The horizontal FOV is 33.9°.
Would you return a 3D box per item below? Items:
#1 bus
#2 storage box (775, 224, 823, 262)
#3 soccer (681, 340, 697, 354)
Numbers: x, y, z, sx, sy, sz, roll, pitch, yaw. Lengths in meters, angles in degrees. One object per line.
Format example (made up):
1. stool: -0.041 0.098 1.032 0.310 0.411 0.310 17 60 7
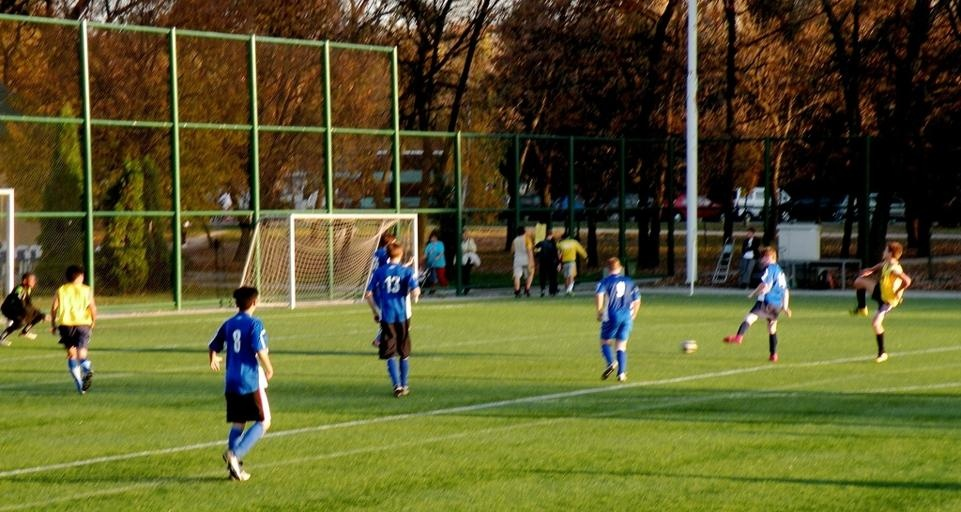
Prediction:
1. bus: -4.537 -2.920 60.785 2.459 3.115 16.668 1 1 16
2. storage box: 12.651 -0.505 62.142 1.542 1.450 1.541 0 4 2
3. soccer: 6.619 2.872 49.530 0.422 0.281 0.423 -1 -10 5
